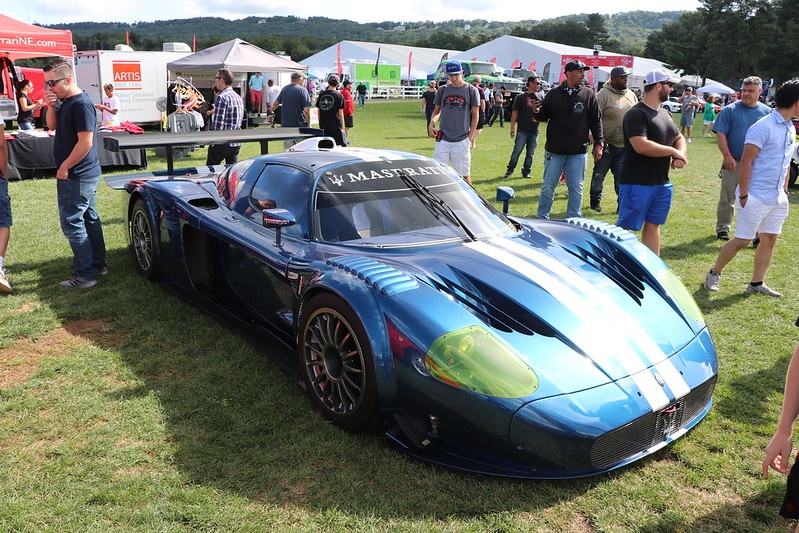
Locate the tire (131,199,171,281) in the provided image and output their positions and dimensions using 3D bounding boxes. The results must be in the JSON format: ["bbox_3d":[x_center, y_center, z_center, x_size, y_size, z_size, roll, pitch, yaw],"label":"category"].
[{"bbox_3d":[-2.759,-0.291,6.424,0.203,0.771,0.752,-8,26,-27],"label":"tire"}]

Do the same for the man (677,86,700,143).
[{"bbox_3d":[10.280,-5.452,21.123,0.730,1.788,0.538,7,11,32],"label":"man"}]

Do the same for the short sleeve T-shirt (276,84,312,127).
[{"bbox_3d":[-1.937,-2.979,10.986,0.517,0.761,0.688,-2,19,-11],"label":"short sleeve T-shirt"}]

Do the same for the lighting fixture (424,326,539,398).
[{"bbox_3d":[0.534,0.631,3.850,0.547,0.164,0.419,21,57,8],"label":"lighting fixture"}]

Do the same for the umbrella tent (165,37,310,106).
[{"bbox_3d":[-5.167,-6.698,18.872,4.186,1.022,4.447,6,20,3],"label":"umbrella tent"}]

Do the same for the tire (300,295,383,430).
[{"bbox_3d":[-0.390,0.675,4.254,0.187,0.951,0.803,-14,0,-39],"label":"tire"}]

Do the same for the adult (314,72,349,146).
[{"bbox_3d":[-1.313,-2.822,11.391,0.649,1.687,0.505,9,35,3],"label":"adult"}]

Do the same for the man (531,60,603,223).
[{"bbox_3d":[2.259,-1.717,8.142,1.030,2.313,0.733,5,-3,6],"label":"man"}]

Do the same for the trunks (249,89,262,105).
[{"bbox_3d":[-5.083,-6.043,21.058,0.364,0.489,0.284,26,61,2],"label":"trunks"}]

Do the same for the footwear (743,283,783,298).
[{"bbox_3d":[3.980,0.242,6.557,0.388,0.171,0.143,10,19,6],"label":"footwear"}]

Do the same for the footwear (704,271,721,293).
[{"bbox_3d":[3.512,0.143,6.645,0.105,0.121,0.289,28,31,-2],"label":"footwear"}]

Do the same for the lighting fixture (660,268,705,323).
[{"bbox_3d":[2.221,0.217,4.688,0.266,0.113,0.487,9,47,-44],"label":"lighting fixture"}]

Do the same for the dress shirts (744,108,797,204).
[{"bbox_3d":[3.911,-1.179,6.290,0.526,0.944,0.404,5,19,12],"label":"dress shirts"}]

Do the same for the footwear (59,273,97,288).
[{"bbox_3d":[-3.417,0.176,6.378,0.378,0.171,0.143,5,36,-15],"label":"footwear"}]

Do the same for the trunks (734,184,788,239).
[{"bbox_3d":[3.936,-0.541,6.474,0.594,0.538,0.333,2,6,-15],"label":"trunks"}]

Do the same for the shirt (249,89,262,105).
[{"bbox_3d":[-5.083,-6.043,21.058,0.364,0.489,0.284,26,61,2],"label":"shirt"}]

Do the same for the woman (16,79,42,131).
[{"bbox_3d":[-8.856,-3.610,14.247,0.622,1.732,0.505,-3,13,-37],"label":"woman"}]

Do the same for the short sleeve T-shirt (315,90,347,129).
[{"bbox_3d":[-1.300,-2.932,11.146,0.449,0.754,0.322,0,18,-4],"label":"short sleeve T-shirt"}]

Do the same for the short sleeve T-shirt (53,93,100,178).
[{"bbox_3d":[-3.453,-1.391,6.289,0.448,0.881,0.355,-5,19,-18],"label":"short sleeve T-shirt"}]

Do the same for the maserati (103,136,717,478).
[{"bbox_3d":[0.080,0.074,4.851,4.549,1.779,1.938,14,22,31],"label":"maserati"}]
